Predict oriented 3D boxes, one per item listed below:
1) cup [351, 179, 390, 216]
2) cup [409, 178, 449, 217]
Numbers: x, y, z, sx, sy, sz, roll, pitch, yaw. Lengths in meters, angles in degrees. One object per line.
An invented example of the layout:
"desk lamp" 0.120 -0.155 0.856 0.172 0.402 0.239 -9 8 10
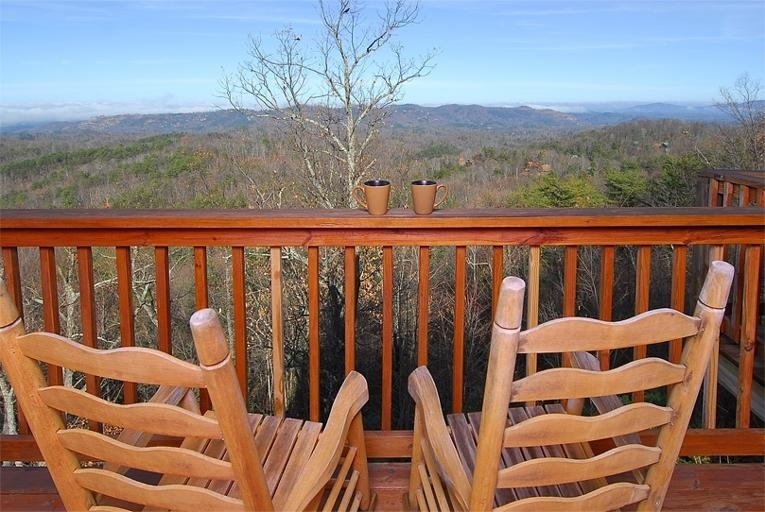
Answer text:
"cup" -0.044 -0.236 2.406 0.161 0.121 0.113 3 16 2
"cup" 0.195 -0.235 2.402 0.159 0.119 0.111 -2 13 -1
